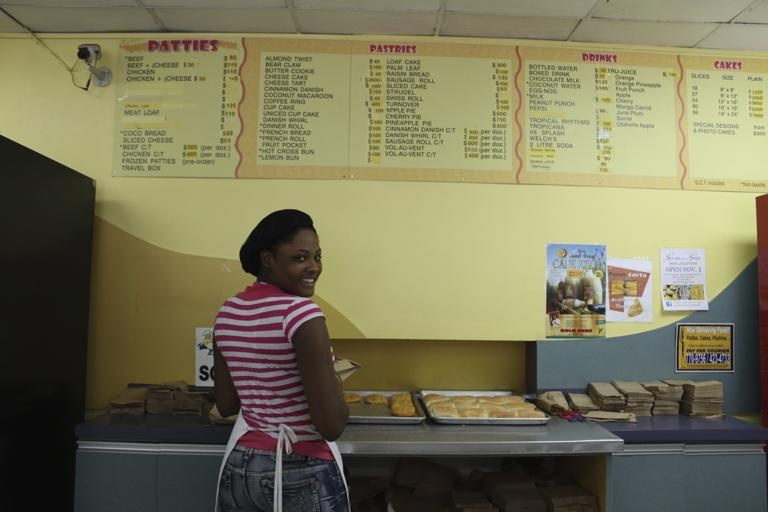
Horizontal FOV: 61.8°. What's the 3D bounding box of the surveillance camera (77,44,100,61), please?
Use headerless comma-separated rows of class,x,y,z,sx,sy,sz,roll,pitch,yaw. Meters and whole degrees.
surveillance camera,-2.011,-1.383,4.359,0.151,0.141,0.117,0,-3,-18
